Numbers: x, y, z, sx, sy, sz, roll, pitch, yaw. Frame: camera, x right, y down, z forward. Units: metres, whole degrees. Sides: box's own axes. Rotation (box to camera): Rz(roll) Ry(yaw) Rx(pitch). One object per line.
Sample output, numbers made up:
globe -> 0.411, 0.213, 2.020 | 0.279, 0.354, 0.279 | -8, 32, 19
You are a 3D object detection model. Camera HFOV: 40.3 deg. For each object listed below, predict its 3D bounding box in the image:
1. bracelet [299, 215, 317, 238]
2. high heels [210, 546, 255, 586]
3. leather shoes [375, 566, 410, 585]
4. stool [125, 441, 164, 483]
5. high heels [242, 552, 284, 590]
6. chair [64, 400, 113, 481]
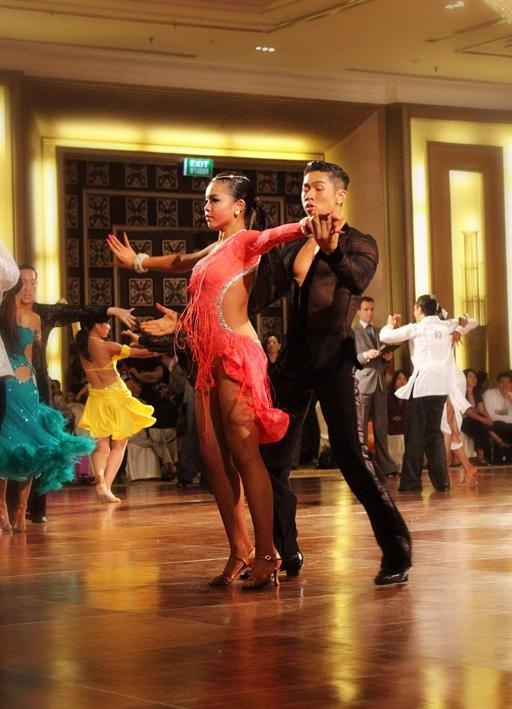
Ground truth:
bracelet -> 0.165, -0.408, 2.212 | 0.058, 0.060, 0.024 | 1, 16, 8
high heels -> -0.079, 0.801, 2.609 | 0.081, 0.083, 0.226 | -26, -16, 35
leather shoes -> 0.485, 0.789, 2.501 | 0.136, 0.043, 0.054 | 7, 18, -43
stool -> -1.416, 1.354, 8.710 | 0.582, 0.571, 0.483 | 5, -15, -28
high heels -> 0.019, 0.785, 2.516 | 0.119, 0.110, 0.176 | -1, 3, 10
chair -> -2.165, 1.033, 8.598 | 0.883, 1.026, 0.400 | 6, -14, -34
